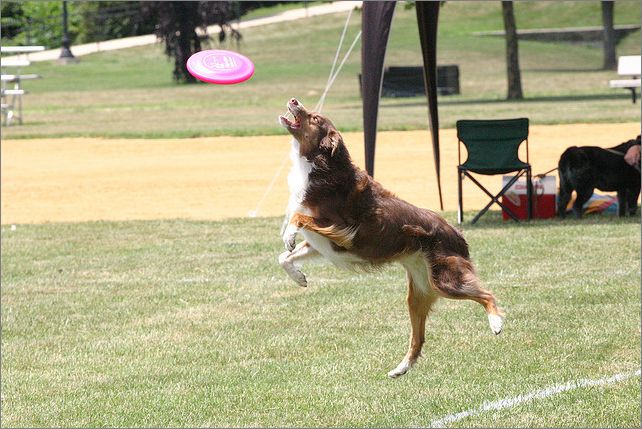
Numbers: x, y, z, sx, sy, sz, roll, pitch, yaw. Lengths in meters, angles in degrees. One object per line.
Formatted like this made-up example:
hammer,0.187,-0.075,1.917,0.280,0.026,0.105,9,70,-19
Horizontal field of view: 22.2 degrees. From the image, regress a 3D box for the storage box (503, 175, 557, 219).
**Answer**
storage box,7.935,-0.634,60.829,2.593,2.239,1.453,0,4,6
